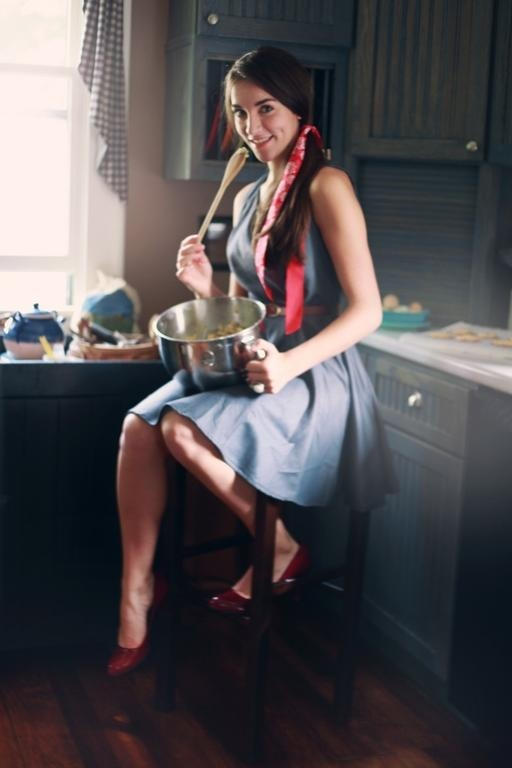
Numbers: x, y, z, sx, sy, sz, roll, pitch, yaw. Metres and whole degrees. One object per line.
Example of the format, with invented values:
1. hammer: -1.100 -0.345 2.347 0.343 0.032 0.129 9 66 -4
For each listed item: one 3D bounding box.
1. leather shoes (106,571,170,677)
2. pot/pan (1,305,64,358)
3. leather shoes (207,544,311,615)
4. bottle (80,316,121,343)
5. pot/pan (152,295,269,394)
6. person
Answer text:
1. leather shoes: -0.209 0.419 1.203 0.071 0.246 0.076 19 -8 -29
2. pot/pan: -0.564 -0.137 1.577 0.127 0.122 0.126 2 8 2
3. leather shoes: 0.024 0.337 1.161 0.222 0.094 0.067 -15 6 -21
4. bottle: -0.401 -0.133 1.628 0.084 0.031 0.062 32 10 -8
5. pot/pan: -0.082 -0.084 1.064 0.163 0.091 0.196 -22 36 -18
6. person: -0.016 -0.031 1.142 0.478 1.122 0.398 6 6 44
